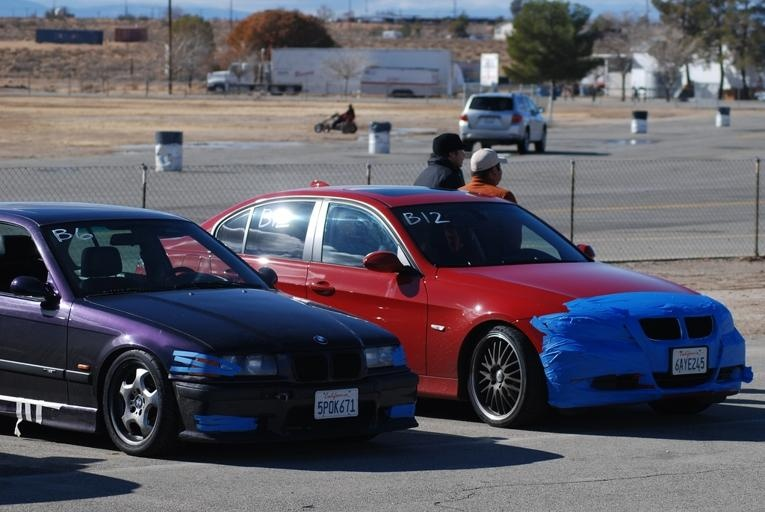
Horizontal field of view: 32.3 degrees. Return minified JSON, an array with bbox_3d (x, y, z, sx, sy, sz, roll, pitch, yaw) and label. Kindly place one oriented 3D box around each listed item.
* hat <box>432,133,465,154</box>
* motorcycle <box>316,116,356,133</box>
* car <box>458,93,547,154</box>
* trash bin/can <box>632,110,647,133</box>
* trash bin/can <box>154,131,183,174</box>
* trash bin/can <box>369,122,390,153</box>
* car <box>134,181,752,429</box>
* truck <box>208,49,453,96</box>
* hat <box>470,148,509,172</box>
[{"bbox_3d":[0.740,-1.295,15.207,0.333,0.251,0.398,1,12,1],"label":"hat"},{"bbox_3d":[-1.846,-5.073,51.268,1.454,0.597,0.736,2,-1,5],"label":"motorcycle"},{"bbox_3d":[3.633,-3.976,38.372,1.583,1.139,3.253,1,5,19],"label":"car"},{"bbox_3d":[9.607,-5.025,49.337,0.516,0.860,0.776,2,12,5],"label":"trash bin/can"},{"bbox_3d":[-5.000,-2.425,30.300,0.608,0.911,0.672,-2,12,-11],"label":"trash bin/can"},{"bbox_3d":[-0.135,-3.355,37.225,0.516,0.867,0.706,-1,12,-7],"label":"trash bin/can"},{"bbox_3d":[0.416,0.420,13.197,5.608,1.557,2.430,4,4,35],"label":"car"},{"bbox_3d":[-3.466,-14.810,105.592,17.268,3.726,5.292,3,12,10],"label":"truck"},{"bbox_3d":[1.214,-1.024,14.540,0.510,0.176,0.336,-11,19,-39],"label":"hat"}]
